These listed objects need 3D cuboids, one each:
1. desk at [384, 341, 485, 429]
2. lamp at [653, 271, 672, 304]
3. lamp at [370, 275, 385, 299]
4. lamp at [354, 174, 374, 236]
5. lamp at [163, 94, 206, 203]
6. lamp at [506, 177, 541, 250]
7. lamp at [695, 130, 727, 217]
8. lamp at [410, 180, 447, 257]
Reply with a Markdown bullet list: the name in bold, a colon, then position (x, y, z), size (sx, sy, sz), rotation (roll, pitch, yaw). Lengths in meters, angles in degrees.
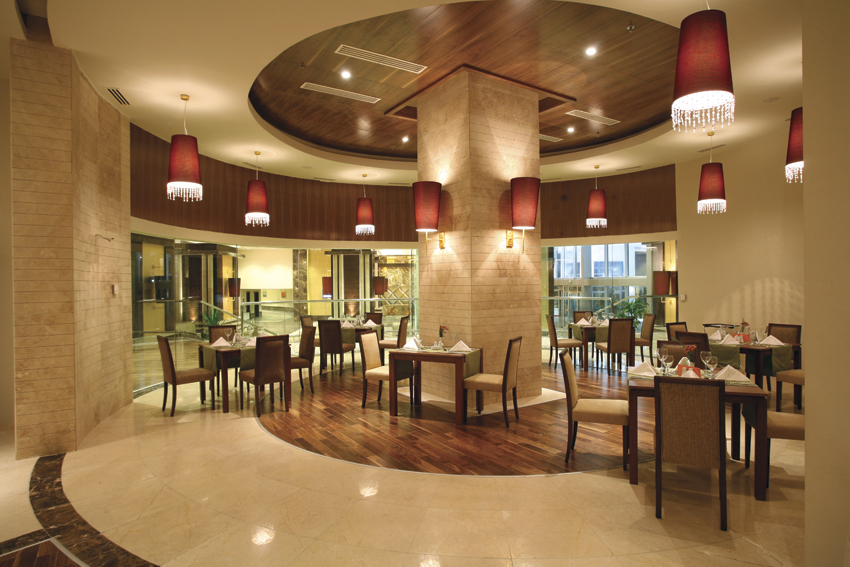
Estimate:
- **desk**: position (0.118, 1.720, 8.891), size (1.815, 1.266, 1.012), rotation (-3, -5, 33)
- **lamp**: position (5.503, -0.061, 13.443), size (0.455, 0.533, 0.174), rotation (1, 5, 27)
- **lamp**: position (-1.182, 0.030, 15.102), size (0.469, 0.547, 0.124), rotation (-4, 6, -38)
- **lamp**: position (-1.445, -1.845, 13.942), size (0.486, 1.316, 1.738), rotation (-1, 4, -7)
- **lamp**: position (-3.914, -2.160, 9.362), size (0.479, 1.513, 1.878), rotation (-3, 4, -24)
- **lamp**: position (1.586, -1.165, 9.382), size (0.439, 1.135, 0.419), rotation (-4, 5, -31)
- **lamp**: position (4.985, -1.737, 10.078), size (0.401, 0.857, 0.500), rotation (1, 5, 23)
- **lamp**: position (0.071, -1.153, 9.580), size (0.452, 1.146, 0.488), rotation (2, 5, 35)
